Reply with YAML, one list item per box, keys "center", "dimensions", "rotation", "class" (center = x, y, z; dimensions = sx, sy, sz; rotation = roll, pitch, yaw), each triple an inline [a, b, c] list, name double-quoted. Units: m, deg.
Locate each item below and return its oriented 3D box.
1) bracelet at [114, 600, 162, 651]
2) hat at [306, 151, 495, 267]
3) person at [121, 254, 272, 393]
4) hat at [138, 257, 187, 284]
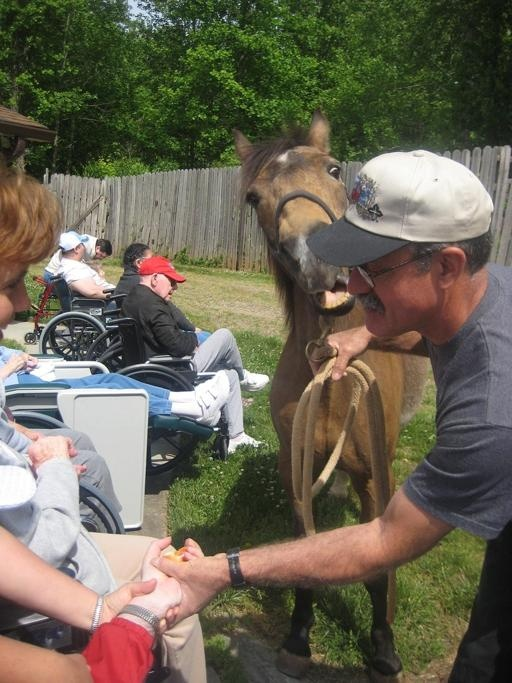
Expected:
- center: [-0.302, 0.753, 1.608]
  dimensions: [0.118, 0.117, 0.080]
  rotation: [21, 53, 15]
  class: "bracelet"
- center: [0.351, -0.309, 1.533]
  dimensions: [0.459, 0.199, 0.287]
  rotation: [-8, 32, 3]
  class: "hat"
- center: [-0.627, -0.140, 4.960]
  dimensions: [0.826, 1.258, 0.652]
  rotation: [1, 2, 5]
  class: "person"
- center: [-0.757, -0.592, 4.964]
  dimensions: [0.398, 0.178, 0.233]
  rotation: [1, 11, -19]
  class: "hat"
